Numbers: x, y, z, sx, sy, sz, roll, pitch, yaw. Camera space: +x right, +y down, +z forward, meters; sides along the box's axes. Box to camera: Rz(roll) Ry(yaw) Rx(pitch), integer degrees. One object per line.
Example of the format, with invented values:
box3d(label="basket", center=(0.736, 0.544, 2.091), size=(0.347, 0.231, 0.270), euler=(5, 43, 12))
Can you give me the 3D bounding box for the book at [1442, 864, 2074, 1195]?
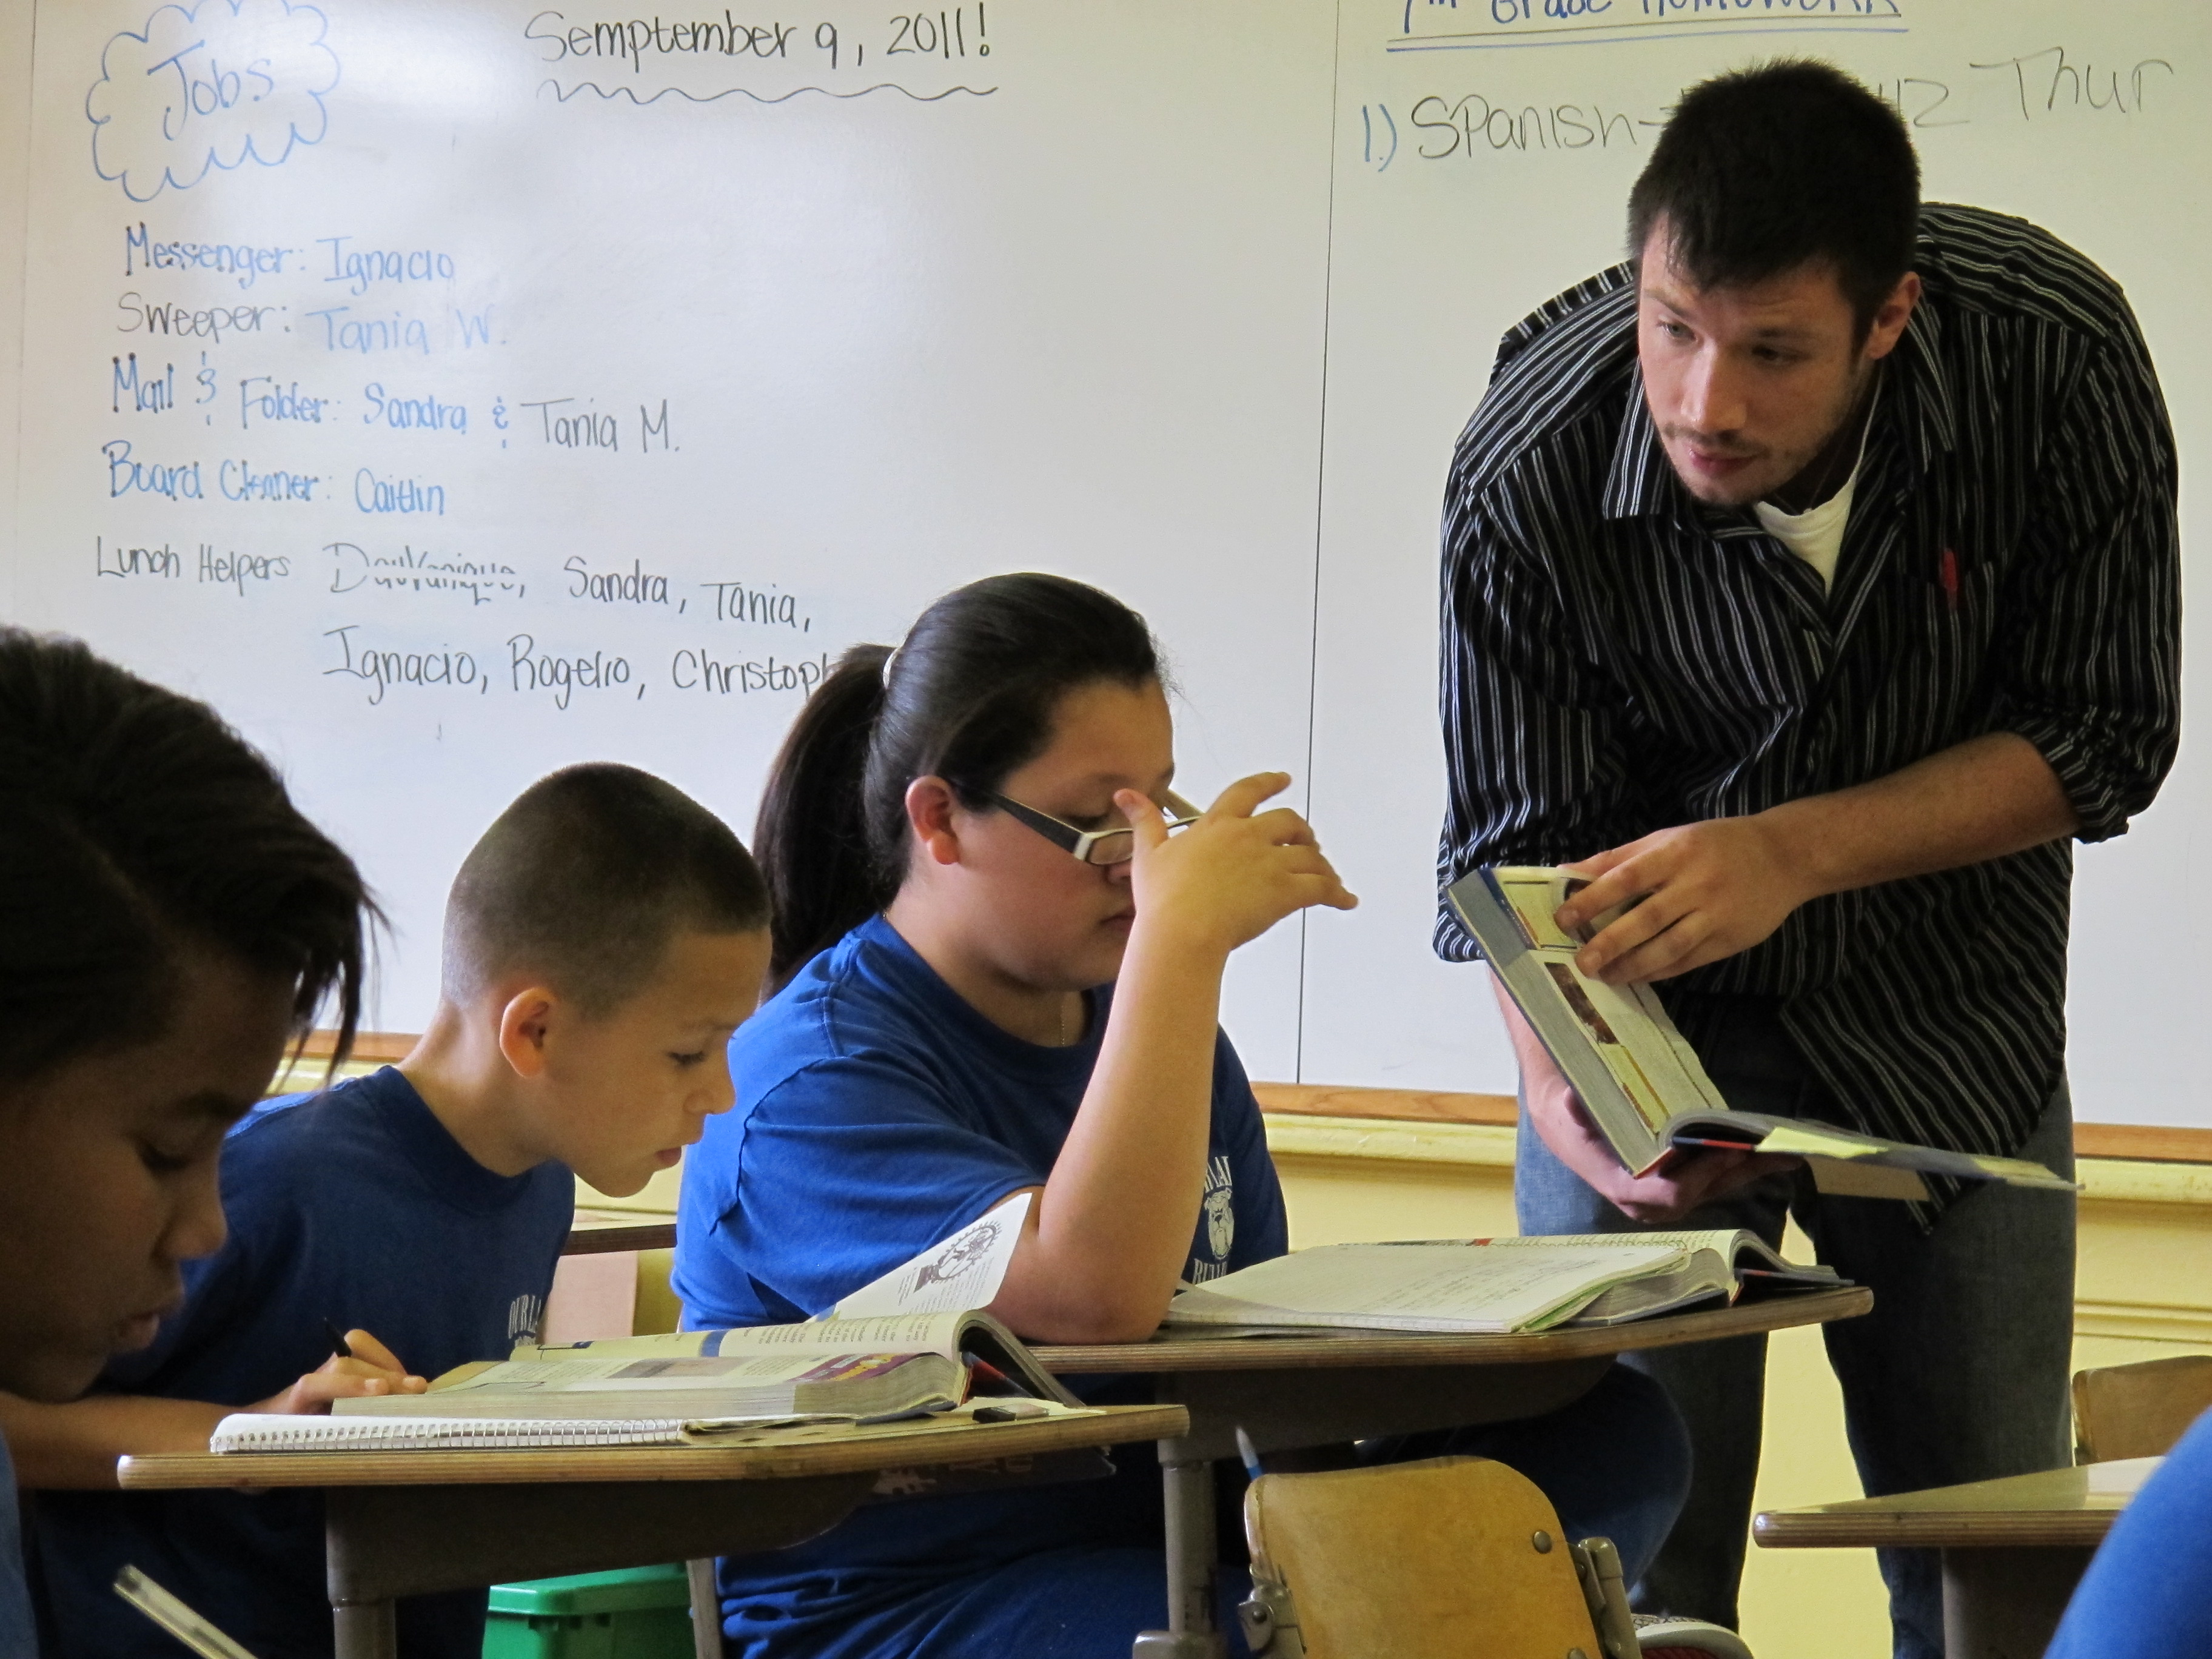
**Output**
box3d(label="book", center=(0.569, 0.129, 1.896), size=(0.469, 0.285, 0.302), euler=(8, -5, 24))
